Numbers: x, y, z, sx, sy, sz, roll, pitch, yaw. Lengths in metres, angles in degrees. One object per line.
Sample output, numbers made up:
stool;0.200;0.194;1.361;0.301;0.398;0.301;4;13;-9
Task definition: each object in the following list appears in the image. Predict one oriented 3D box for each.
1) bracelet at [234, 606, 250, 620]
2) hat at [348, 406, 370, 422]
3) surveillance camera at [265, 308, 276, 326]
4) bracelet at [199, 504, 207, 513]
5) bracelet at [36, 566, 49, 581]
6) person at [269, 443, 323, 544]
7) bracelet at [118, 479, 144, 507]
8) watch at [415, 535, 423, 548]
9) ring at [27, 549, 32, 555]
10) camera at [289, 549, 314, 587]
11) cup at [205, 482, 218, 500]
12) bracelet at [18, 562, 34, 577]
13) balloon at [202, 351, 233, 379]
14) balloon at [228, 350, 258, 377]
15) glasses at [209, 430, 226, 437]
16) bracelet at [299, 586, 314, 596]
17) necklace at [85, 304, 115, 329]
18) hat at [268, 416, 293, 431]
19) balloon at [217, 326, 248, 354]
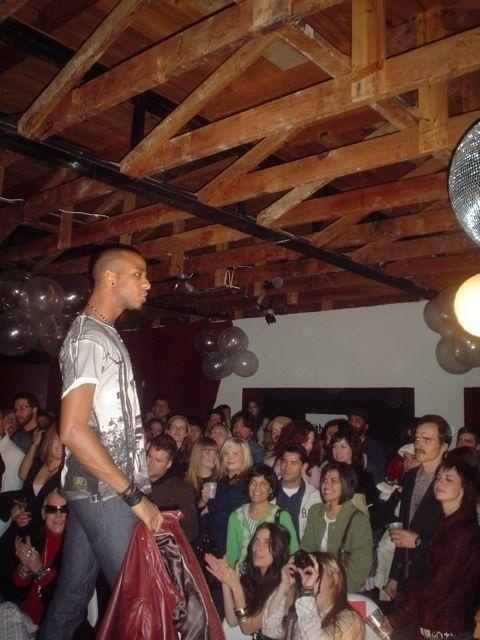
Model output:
bracelet;0.004;1.481;2.664;0.063;0.056;0.059;4;-29;-13
hat;1.549;1.235;6.889;0.194;0.114;0.190;29;-12;-31
surveillance camera;0.432;-0.049;7.600;0.128;0.213;0.365;6;-6;6
bracelet;-0.250;1.288;3.599;0.026;0.053;0.062;2;-9;-7
bracelet;-1.045;1.349;2.806;0.067;0.046;0.024;-20;29;-29
person;0.355;1.135;3.401;0.382;0.701;0.245;-10;-53;10
bracelet;-0.340;0.548;1.665;0.055;0.033;0.095;-23;-4;-6
watch;1.026;1.281;3.044;0.045;0.055;0.016;5;-6;-24
ring;-1.131;1.254;2.848;0.020;0.024;0.008;0;0;-22
camera;0.300;1.178;2.541;0.154;0.142;0.055;1;-3;33
cup;-0.190;1.148;3.547;0.087;0.086;0.081;-6;-7;-1
bracelet;-1.172;1.372;2.881;0.077;0.022;0.074;25;-17;-7
balloon;-0.305;0.645;7.321;0.399;0.368;0.237;-3;4;23
balloon;0.060;0.604;7.325;0.359;0.354;0.278;8;-7;-9
glasses;-0.207;1.078;4.975;0.101;0.066;0.112;-2;2;-6
bracelet;0.317;1.298;2.527;0.068;0.046;0.033;5;-7;11
necklace;-0.502;-0.017;1.951;0.098;0.024;0.072;39;-12;-25
hat;0.377;0.992;5.081;0.211;0.064;0.202;-3;1;7
balloon;-0.043;0.275;7.230;0.387;0.403;0.365;8;8;-19
